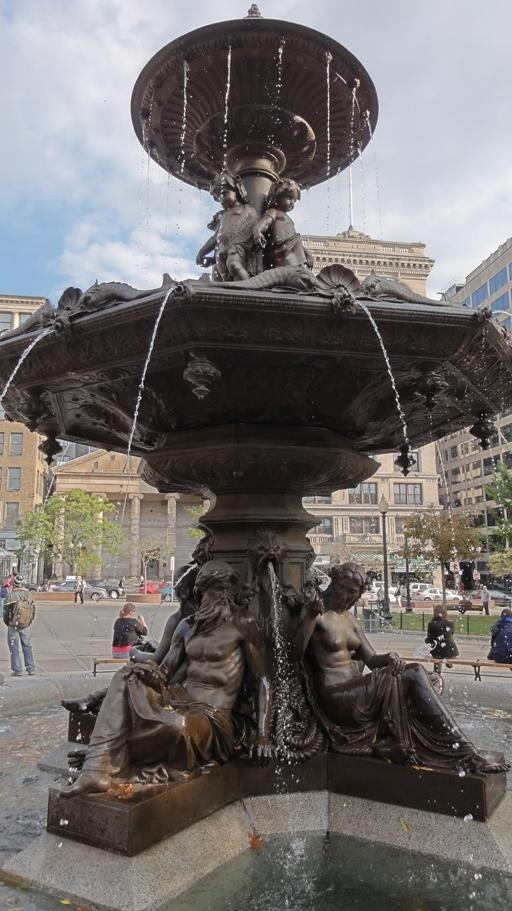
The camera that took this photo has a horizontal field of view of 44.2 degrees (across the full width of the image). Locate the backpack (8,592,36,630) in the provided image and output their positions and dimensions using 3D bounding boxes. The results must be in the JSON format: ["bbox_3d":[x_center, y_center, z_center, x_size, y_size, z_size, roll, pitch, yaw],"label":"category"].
[{"bbox_3d":[-3.930,2.634,10.552,0.348,0.627,0.453,1,-7,-23],"label":"backpack"}]
